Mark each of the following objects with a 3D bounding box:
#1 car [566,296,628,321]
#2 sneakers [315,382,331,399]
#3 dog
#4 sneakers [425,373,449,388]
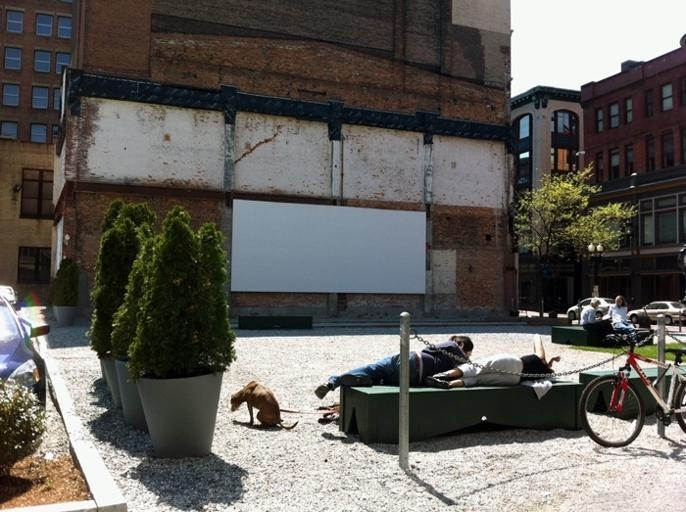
[{"bbox_3d":[11.754,2.410,41.678,1.707,1.424,2.807,1,-1,-30],"label":"car"},{"bbox_3d":[-0.491,3.379,22.645,0.478,0.235,0.197,-47,-12,17],"label":"sneakers"},{"bbox_3d":[-2.003,3.805,22.855,1.820,1.141,0.623,7,11,21],"label":"dog"},{"bbox_3d":[2.342,3.066,22.224,0.615,0.260,0.273,3,5,32],"label":"sneakers"}]
